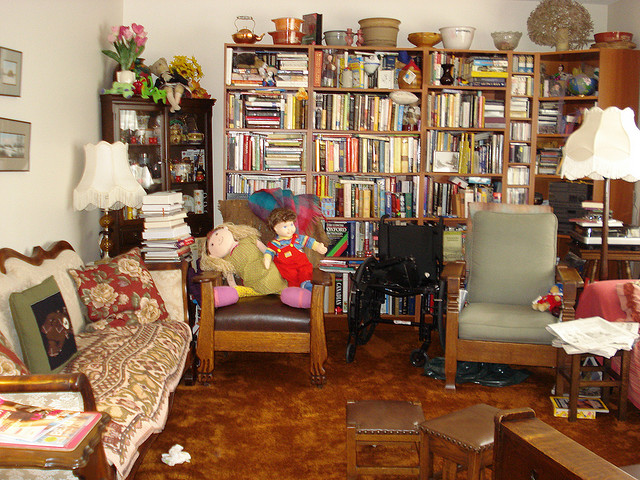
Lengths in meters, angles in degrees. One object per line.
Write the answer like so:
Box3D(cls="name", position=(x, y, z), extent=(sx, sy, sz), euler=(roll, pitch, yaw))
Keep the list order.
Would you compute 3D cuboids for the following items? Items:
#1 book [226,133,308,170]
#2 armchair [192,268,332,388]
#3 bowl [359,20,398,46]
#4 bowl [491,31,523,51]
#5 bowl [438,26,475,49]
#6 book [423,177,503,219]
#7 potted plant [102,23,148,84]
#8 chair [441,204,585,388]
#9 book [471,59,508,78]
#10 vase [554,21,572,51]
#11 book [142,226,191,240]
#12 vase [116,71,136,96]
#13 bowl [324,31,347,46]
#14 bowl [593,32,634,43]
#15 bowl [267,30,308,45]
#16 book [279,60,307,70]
Box3D(cls="book", position=(-0.477, -0.788, 4.753), extent=(0.672, 0.344, 0.623), euler=(3, 6, 1))
Box3D(cls="armchair", position=(-0.413, 0.536, 3.815), extent=(0.984, 0.773, 0.805), euler=(3, 9, -5))
Box3D(cls="bowl", position=(0.527, -1.857, 4.491), extent=(0.268, 0.165, 0.262), euler=(0, 3, 0))
Box3D(cls="bowl", position=(1.719, -1.835, 4.619), extent=(0.212, 0.122, 0.208), euler=(2, 10, 0))
Box3D(cls="bowl", position=(1.237, -1.835, 4.609), extent=(0.247, 0.128, 0.239), euler=(0, 5, 0))
Box3D(cls="book", position=(1.347, -0.413, 4.712), extent=(0.851, 0.443, 0.292), euler=(3, 4, 35))
Box3D(cls="potted plant", position=(-1.614, -1.507, 4.189), extent=(0.381, 0.451, 0.328), euler=(13, 23, 8))
Box3D(cls="chair", position=(1.348, 0.376, 3.655), extent=(0.901, 1.185, 0.874), euler=(2, 12, 13))
Box3D(cls="book", position=(1.530, -1.565, 4.575), extent=(0.211, 0.053, 0.227), euler=(1, -15, 9))
Box3D(cls="vase", position=(2.342, -1.969, 4.854), extent=(0.205, 0.264, 0.070), euler=(-4, 12, -17))
Box3D(cls="book", position=(-1.070, -0.050, 3.613), extent=(0.346, 0.061, 0.146), euler=(-9, 14, -38))
Box3D(cls="vase", position=(-1.587, -1.282, 4.113), extent=(0.140, 0.201, 0.145), euler=(-2, 12, -6))
Box3D(cls="bowl", position=(0.147, -1.827, 4.547), extent=(0.162, 0.097, 0.157), euler=(0, 5, 0))
Box3D(cls="bowl", position=(2.788, -1.929, 4.791), extent=(0.182, 0.046, 0.168), euler=(1, 2, 0))
Box3D(cls="bowl", position=(-0.272, -1.821, 4.511), extent=(0.307, 0.079, 0.213), euler=(-1, 12, -8))
Box3D(cls="book", position=(-0.236, -1.567, 4.489), extent=(0.244, 0.082, 0.029), euler=(-1, 12, -5))
